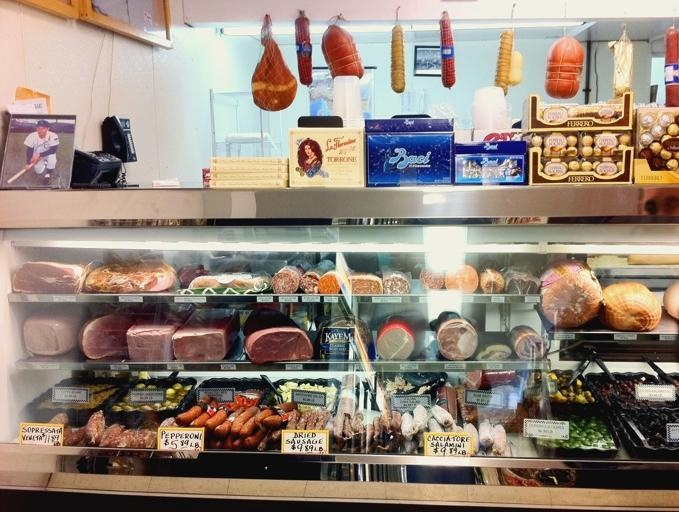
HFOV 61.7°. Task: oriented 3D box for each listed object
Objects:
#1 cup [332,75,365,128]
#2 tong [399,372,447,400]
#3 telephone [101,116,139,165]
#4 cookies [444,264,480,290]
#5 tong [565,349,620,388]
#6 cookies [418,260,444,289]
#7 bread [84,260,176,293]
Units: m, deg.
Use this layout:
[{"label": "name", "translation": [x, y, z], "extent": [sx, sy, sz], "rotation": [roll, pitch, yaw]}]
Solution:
[{"label": "cup", "translation": [0.038, -0.649, 2.414], "extent": [0.161, 0.231, 0.125], "rotation": [2, 12, -1]}, {"label": "tong", "translation": [0.387, 0.584, 2.560], "extent": [0.159, 0.119, 0.050], "rotation": [3, 3, -7]}, {"label": "telephone", "translation": [-1.226, -0.653, 3.189], "extent": [0.132, 0.240, 0.159], "rotation": [3, 12, 4]}, {"label": "cookies", "translation": [0.507, 0.098, 2.359], "extent": [0.115, 0.111, 0.026], "rotation": [-1, 8, 5]}, {"label": "tong", "translation": [1.090, 0.475, 2.509], "extent": [0.180, 0.150, 0.210], "rotation": [-2, 10, 10]}, {"label": "cookies", "translation": [0.385, 0.073, 2.373], "extent": [0.112, 0.109, 0.027], "rotation": [-4, 6, 2]}, {"label": "bread", "translation": [-0.901, 0.094, 2.423], "extent": [0.296, 0.082, 0.165], "rotation": [0, 10, -1]}]
